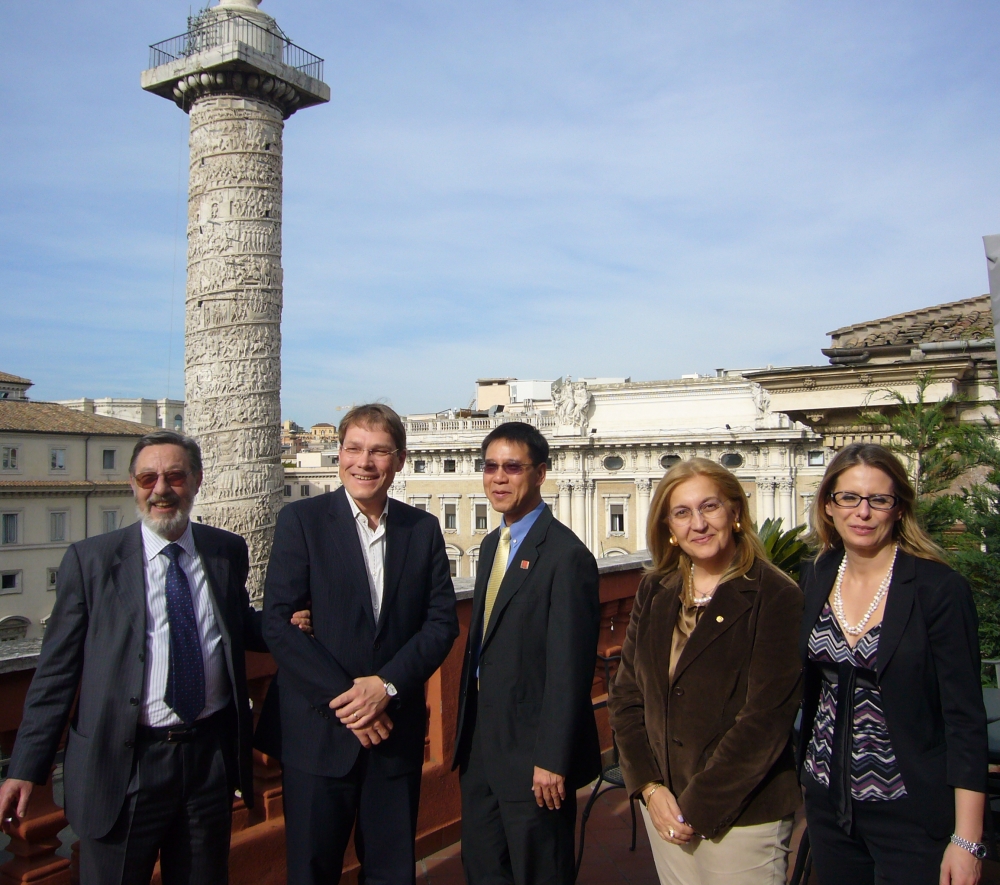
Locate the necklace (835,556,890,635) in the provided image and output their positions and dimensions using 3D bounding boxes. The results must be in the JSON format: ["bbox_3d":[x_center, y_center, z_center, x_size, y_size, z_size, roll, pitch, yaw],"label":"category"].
[{"bbox_3d":[1.152,0.505,3.082,0.040,0.235,0.157,28,-27,-32],"label":"necklace"}]

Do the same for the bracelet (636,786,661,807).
[{"bbox_3d":[0.497,1.177,3.188,0.049,0.066,0.059,5,-4,-3],"label":"bracelet"}]

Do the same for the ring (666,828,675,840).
[{"bbox_3d":[0.548,1.260,3.087,0.045,0.013,0.045,-3,1,0],"label":"ring"}]

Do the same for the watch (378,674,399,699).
[{"bbox_3d":[-0.374,0.830,3.262,0.072,0.072,0.046,-25,9,40],"label":"watch"}]

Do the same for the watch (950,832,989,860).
[{"bbox_3d":[1.352,1.162,2.764,0.093,0.065,0.062,-1,-1,15],"label":"watch"}]
